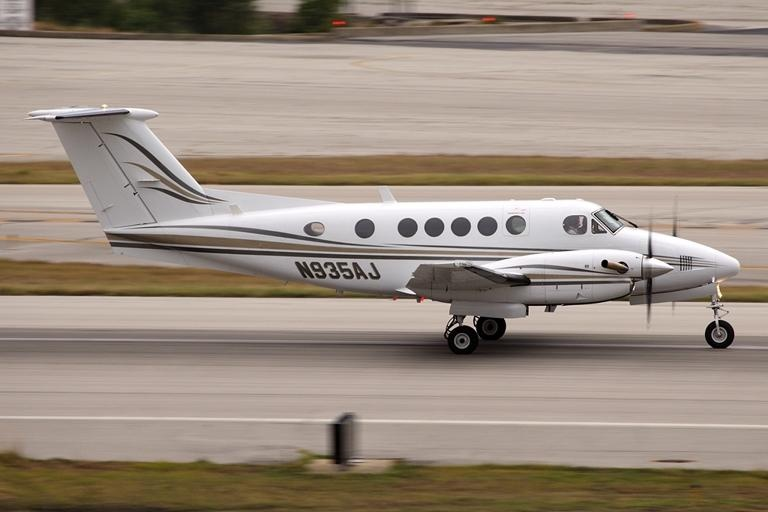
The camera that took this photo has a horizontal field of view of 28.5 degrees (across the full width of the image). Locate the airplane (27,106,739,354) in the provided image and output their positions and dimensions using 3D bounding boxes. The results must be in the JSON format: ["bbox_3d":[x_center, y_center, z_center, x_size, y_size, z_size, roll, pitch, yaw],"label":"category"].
[{"bbox_3d":[0.492,-0.857,56.153,25.448,3.449,16.743,1,20,7],"label":"airplane"}]
